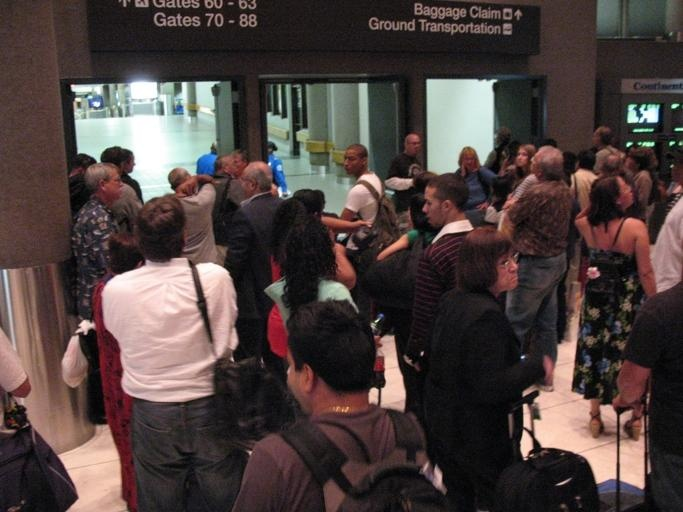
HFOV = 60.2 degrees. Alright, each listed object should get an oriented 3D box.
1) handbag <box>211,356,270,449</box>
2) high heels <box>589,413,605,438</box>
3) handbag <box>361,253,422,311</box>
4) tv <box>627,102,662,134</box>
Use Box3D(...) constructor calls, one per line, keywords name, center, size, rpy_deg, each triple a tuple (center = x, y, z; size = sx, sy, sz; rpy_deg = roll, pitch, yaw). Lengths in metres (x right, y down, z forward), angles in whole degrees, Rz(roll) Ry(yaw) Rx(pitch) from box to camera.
Box3D(name="handbag", center=(-0.425, 0.610, 2.481), size=(0.148, 0.339, 0.257), rpy_deg=(4, -7, -23))
Box3D(name="high heels", center=(2.123, 1.370, 4.812), size=(0.086, 0.107, 0.253), rpy_deg=(-2, 15, 12))
Box3D(name="handbag", center=(0.371, 0.186, 4.413), size=(0.448, 0.448, 0.321), rpy_deg=(5, -5, 14))
Box3D(name="tv", center=(6.073, -2.681, 11.741), size=(0.669, 0.569, 0.357), rpy_deg=(0, 1, -9))
